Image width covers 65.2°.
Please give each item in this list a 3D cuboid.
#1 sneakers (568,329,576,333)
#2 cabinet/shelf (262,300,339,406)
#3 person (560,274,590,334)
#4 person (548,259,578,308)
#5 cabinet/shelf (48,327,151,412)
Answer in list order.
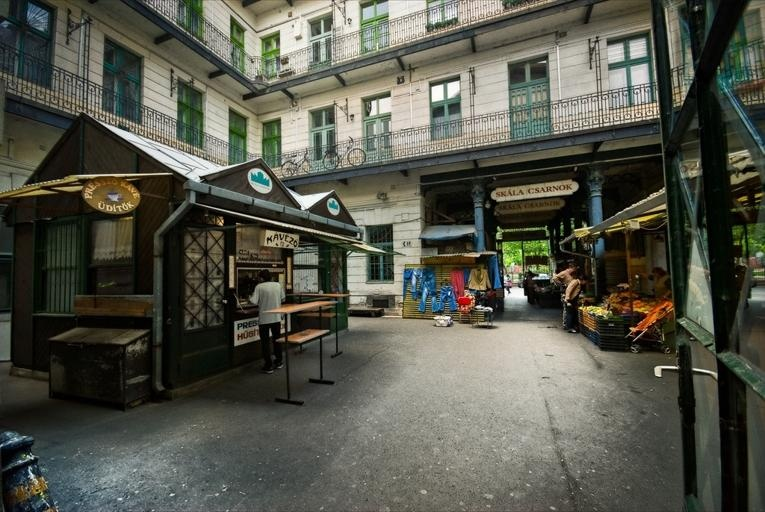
[{"bbox_3d":[5.811,2.302,18.376,0.250,0.069,0.188,-1,5,4],"label":"sneakers"},{"bbox_3d":[-1.824,2.237,14.118,0.817,2.049,2.409,-3,0,19],"label":"cabinet/shelf"},{"bbox_3d":[5.828,1.517,18.442,0.499,1.619,0.641,0,6,18],"label":"person"},{"bbox_3d":[6.697,1.076,22.182,0.624,0.650,2.003,-1,12,24],"label":"person"},{"bbox_3d":[-6.451,2.534,13.679,2.379,1.609,0.914,0,1,20],"label":"cabinet/shelf"}]
